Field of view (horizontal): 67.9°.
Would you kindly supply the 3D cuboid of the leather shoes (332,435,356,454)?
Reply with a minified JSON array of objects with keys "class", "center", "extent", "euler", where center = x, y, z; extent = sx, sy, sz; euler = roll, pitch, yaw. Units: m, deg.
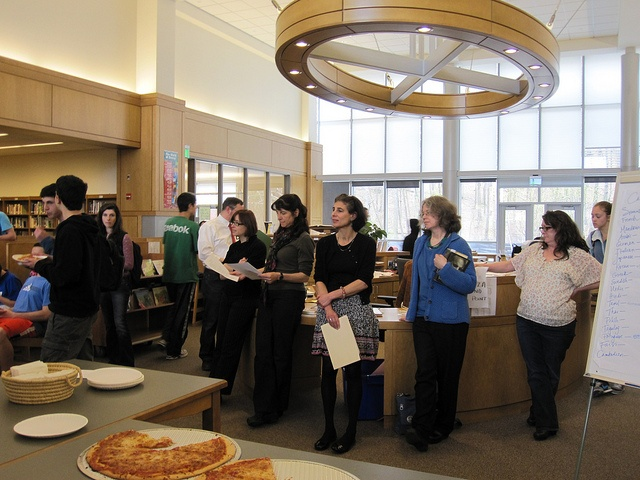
[{"class":"leather shoes","center":[0.177,1.457,3.425],"extent":[0.084,0.082,0.186],"euler":[-5,-10,38]}]

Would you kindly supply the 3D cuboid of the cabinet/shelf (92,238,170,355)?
[{"class":"cabinet/shelf","center":[-2.515,0.657,5.877],"extent":[0.312,0.980,1.011],"euler":[13,17,2]}]

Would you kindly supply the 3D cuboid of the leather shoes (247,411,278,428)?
[{"class":"leather shoes","center":[-0.469,1.446,3.881],"extent":[0.268,0.125,0.091],"euler":[8,-8,-37]}]

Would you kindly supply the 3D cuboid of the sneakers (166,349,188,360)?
[{"class":"sneakers","center":[-1.702,1.362,5.678],"extent":[0.241,0.116,0.089],"euler":[-6,9,-38]}]

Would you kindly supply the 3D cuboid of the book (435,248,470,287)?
[{"class":"book","center":[0.969,0.197,3.448],"extent":[0.239,0.243,0.073],"euler":[33,-4,5]}]

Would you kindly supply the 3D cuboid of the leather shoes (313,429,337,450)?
[{"class":"leather shoes","center":[0.046,1.449,3.467],"extent":[0.075,0.155,0.213],"euler":[-7,-11,35]}]

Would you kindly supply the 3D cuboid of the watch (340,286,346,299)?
[{"class":"watch","center":[0.174,0.395,3.476],"extent":[0.024,0.063,0.050],"euler":[-8,-32,5]}]

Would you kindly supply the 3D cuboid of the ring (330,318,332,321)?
[{"class":"ring","center":[0.079,0.573,3.439],"extent":[0.014,0.015,0.004],"euler":[1,-9,-2]}]

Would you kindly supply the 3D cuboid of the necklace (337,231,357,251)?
[{"class":"necklace","center":[0.213,0.014,3.577],"extent":[0.092,0.127,0.034],"euler":[11,-5,29]}]

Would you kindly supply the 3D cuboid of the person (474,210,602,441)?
[{"class":"person","center":[1.893,0.646,3.914],"extent":[0.543,1.762,0.483],"euler":[0,4,-17]}]

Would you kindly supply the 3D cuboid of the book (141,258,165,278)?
[{"class":"book","center":[-2.171,0.371,6.153],"extent":[0.085,0.188,0.261],"euler":[-25,-8,23]}]

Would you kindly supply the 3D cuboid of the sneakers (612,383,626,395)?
[{"class":"sneakers","center":[3.054,1.502,4.856],"extent":[0.112,0.082,0.221],"euler":[4,4,33]}]

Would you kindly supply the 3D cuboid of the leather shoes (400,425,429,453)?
[{"class":"leather shoes","center":[0.707,1.430,3.472],"extent":[0.109,0.210,0.201],"euler":[-44,0,12]}]

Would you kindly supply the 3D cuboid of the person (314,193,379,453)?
[{"class":"person","center":[0.195,0.590,3.555],"extent":[0.488,1.847,0.445],"euler":[1,4,0]}]

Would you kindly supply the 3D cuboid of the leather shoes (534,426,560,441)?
[{"class":"leather shoes","center":[1.792,1.509,3.750],"extent":[0.213,0.099,0.081],"euler":[6,-7,-24]}]

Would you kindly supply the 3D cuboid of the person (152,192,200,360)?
[{"class":"person","center":[-1.677,0.422,5.708],"extent":[0.412,1.932,0.456],"euler":[0,4,-18]}]

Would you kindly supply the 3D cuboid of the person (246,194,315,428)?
[{"class":"person","center":[-0.320,0.573,3.893],"extent":[0.504,1.879,0.277],"euler":[1,4,-2]}]

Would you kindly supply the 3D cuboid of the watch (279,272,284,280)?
[{"class":"watch","center":[-0.303,0.290,3.768],"extent":[0.028,0.045,0.041],"euler":[1,1,-4]}]

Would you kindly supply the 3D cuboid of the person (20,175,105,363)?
[{"class":"person","center":[-1.705,0.351,3.259],"extent":[0.430,1.100,0.451],"euler":[-1,5,-33]}]

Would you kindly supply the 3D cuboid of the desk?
[{"class":"desk","center":[1.065,0.767,3.816],"extent":[1.398,0.571,1.403],"euler":[-1,-1,2]}]
